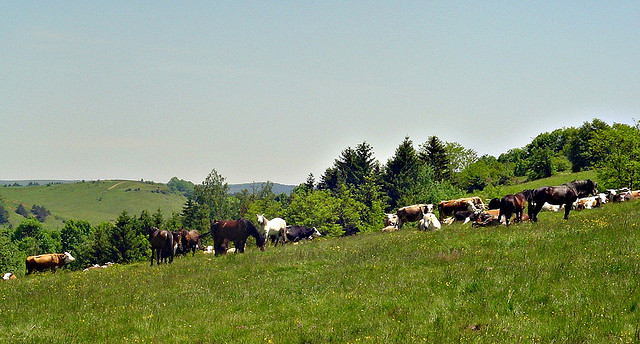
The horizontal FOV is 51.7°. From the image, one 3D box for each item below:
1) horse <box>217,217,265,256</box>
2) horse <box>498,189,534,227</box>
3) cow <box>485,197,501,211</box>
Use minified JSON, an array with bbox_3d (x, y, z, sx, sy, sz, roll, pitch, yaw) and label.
[{"bbox_3d":[-16.341,13.147,138.016,8.344,6.888,2.564,-3,-11,-10],"label":"horse"},{"bbox_3d":[40.071,6.916,134.368,10.496,6.657,2.841,-8,14,-43],"label":"horse"},{"bbox_3d":[35.605,6.542,134.906,1.769,2.309,2.309,3,6,0],"label":"cow"}]
